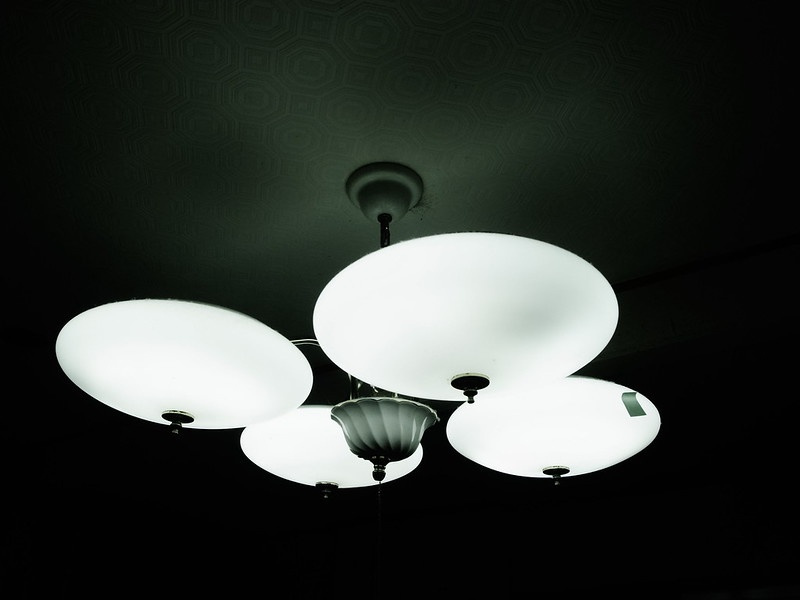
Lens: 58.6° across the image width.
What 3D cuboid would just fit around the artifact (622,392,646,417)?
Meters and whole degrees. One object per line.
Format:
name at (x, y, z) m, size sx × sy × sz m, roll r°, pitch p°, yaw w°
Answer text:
artifact at (1.012, 0.449, 3.077) m, size 0.080 × 0.108 × 0.036 m, roll -8°, pitch -14°, yaw -8°
